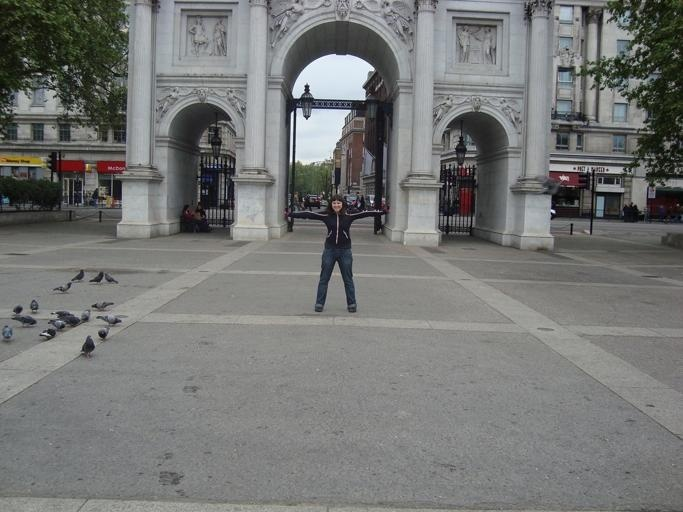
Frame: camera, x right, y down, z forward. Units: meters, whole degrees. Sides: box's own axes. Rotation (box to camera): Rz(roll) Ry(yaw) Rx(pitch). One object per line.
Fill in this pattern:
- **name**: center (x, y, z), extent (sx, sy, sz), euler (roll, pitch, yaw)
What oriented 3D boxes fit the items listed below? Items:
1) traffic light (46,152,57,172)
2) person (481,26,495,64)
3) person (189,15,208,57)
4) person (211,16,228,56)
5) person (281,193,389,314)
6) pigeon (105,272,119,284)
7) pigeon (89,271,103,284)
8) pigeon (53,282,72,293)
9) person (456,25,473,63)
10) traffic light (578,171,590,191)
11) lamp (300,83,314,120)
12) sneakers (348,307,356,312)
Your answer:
- **traffic light**: center (-14.011, -4.599, 29.947), extent (0.441, 0.888, 1.416), euler (-2, 8, -24)
- **person**: center (5.752, -8.193, 23.906), extent (0.529, 1.386, 0.208), euler (3, 6, 13)
- **person**: center (-5.534, -8.537, 23.916), extent (0.720, 1.455, 0.284), euler (-1, 7, -18)
- **person**: center (-4.718, -8.546, 23.913), extent (0.515, 1.461, 0.285), euler (0, 6, -10)
- **person**: center (-0.075, -0.066, 10.280), extent (0.999, 1.866, 0.825), euler (1, 6, -3)
- **pigeon**: center (-4.453, 0.430, 11.942), extent (0.246, 0.220, 0.442), euler (-2, 8, -22)
- **pigeon**: center (-4.776, 0.409, 11.979), extent (0.260, 0.213, 0.531), euler (-2, 8, -22)
- **pigeon**: center (-4.906, 0.558, 10.823), extent (0.262, 0.167, 0.479), euler (-3, 9, -30)
- **person**: center (4.785, -8.259, 23.934), extent (0.541, 1.458, 0.252), euler (2, 6, 9)
- **traffic light**: center (11.580, -3.573, 29.276), extent (0.451, 0.739, 1.499), euler (4, 8, 21)
- **lamp**: center (-1.391, -6.260, 24.842), extent (0.549, 1.425, 1.189), euler (1, 7, -4)
- **sneakers**: center (0.183, 0.860, 10.084), extent (0.143, 0.094, 0.154), euler (1, 7, 2)
